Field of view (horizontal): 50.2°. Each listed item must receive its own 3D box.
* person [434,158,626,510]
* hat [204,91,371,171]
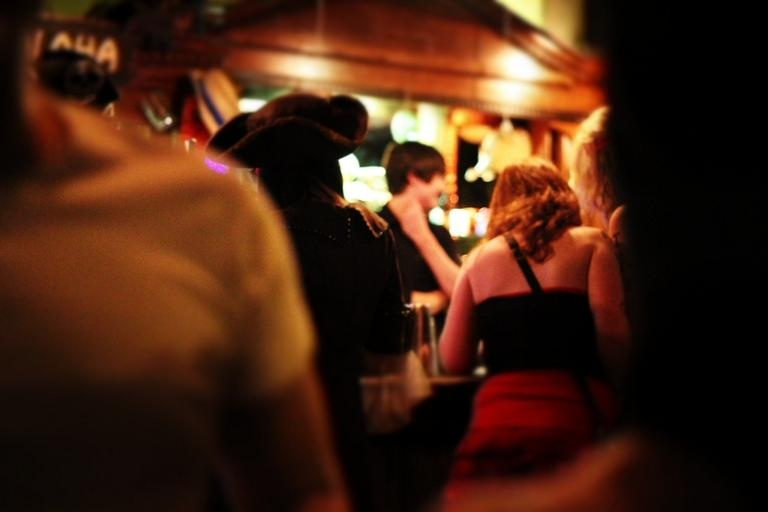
[{"bbox_3d":[0.483,0.207,2.715,0.577,0.969,0.557,1,10,2],"label":"person"},{"bbox_3d":[-0.249,-0.377,2.430,0.283,0.112,0.312,-9,17,47],"label":"hat"}]
